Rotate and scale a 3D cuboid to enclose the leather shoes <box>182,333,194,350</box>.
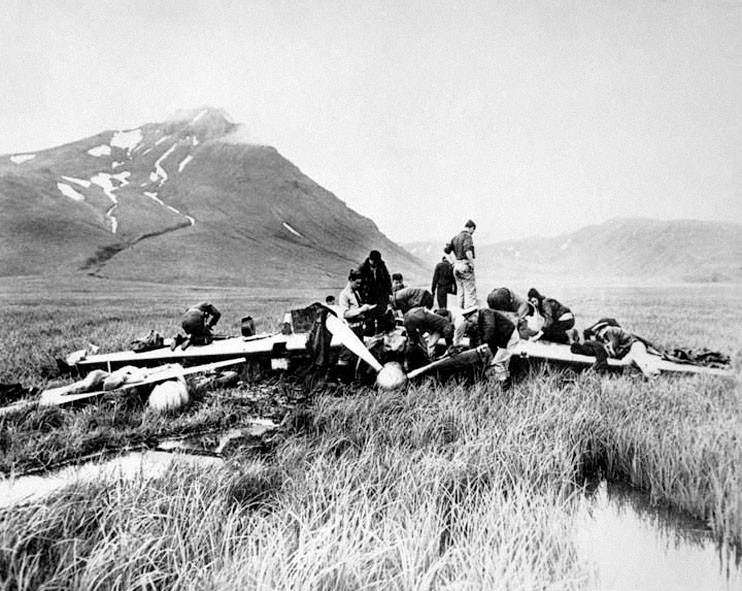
[{"bbox_3d":[-2.468,0.628,7.929,0.092,0.155,0.035,-15,-36,43],"label":"leather shoes"}]

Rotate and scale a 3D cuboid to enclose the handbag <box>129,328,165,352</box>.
[{"bbox_3d":[-2.978,0.602,7.840,0.193,0.208,0.363,5,9,20],"label":"handbag"}]

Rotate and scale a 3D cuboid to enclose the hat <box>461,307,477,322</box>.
[{"bbox_3d":[1.325,0.248,7.790,0.139,0.132,0.157,0,1,22],"label":"hat"}]
